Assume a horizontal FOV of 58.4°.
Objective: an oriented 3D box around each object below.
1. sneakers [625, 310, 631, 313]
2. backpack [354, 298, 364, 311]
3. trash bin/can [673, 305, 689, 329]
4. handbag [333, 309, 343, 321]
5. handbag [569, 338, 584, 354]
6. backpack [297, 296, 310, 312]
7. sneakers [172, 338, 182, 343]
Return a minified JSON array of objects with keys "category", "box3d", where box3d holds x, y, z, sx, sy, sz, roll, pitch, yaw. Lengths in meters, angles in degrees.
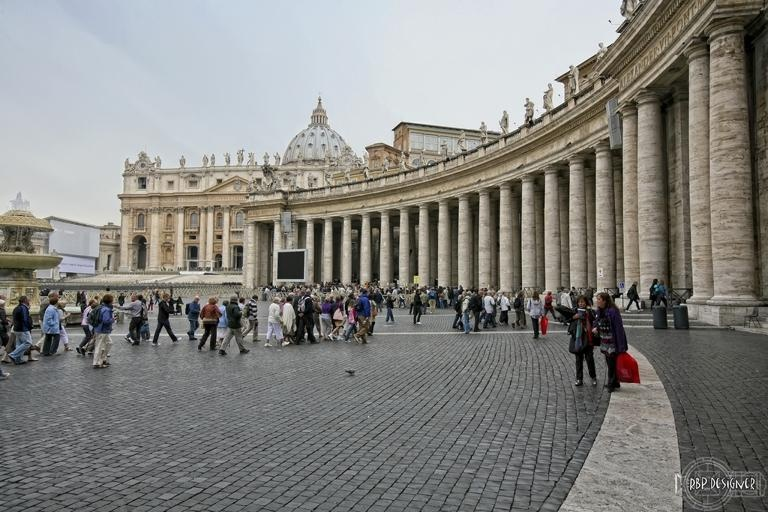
[{"category":"sneakers","box3d":[9.817,2.238,27.554,0.269,0.103,0.088,-9,4,7]},{"category":"backpack","box3d":[-0.894,1.738,24.179,0.412,0.515,0.302,-6,-15,25]},{"category":"trash bin/can","box3d":[10.142,2.111,23.345,0.546,0.814,0.442,7,18,34]},{"category":"handbag","box3d":[-1.746,2.194,25.440,0.450,0.410,0.195,5,-10,-17]},{"category":"handbag","box3d":[4.676,2.170,16.570,0.256,0.445,0.408,11,-2,-14]},{"category":"backpack","box3d":[-2.883,1.738,24.472,0.294,0.447,0.490,11,-18,-34]},{"category":"sneakers","box3d":[-7.546,3.084,24.865,0.129,0.145,0.377,5,28,34]}]
